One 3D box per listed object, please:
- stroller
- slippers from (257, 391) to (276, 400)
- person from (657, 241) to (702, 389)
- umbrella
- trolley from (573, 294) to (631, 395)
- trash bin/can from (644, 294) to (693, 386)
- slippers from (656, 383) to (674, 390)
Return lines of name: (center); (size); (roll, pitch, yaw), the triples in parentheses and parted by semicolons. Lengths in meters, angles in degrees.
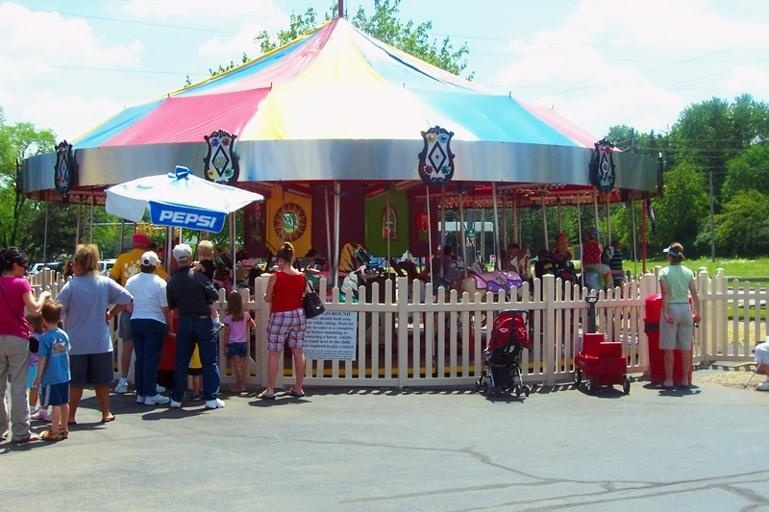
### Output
stroller: (2.018, 1.702, 15.781); (0.725, 1.568, 1.606); (-1, -2, 1)
slippers: (-1.994, 2.312, 15.348); (0.118, 0.138, 0.328); (-4, 7, -44)
person: (5.158, 1.044, 16.179); (0.671, 2.419, 1.146); (5, 10, 26)
umbrella: (-3.463, -0.863, 15.407); (2.312, 1.089, 1.208); (-3, 10, -18)
trolley: (3.755, 1.494, 16.013); (0.653, 1.599, 1.100); (1, 1, -6)
trash bin/can: (5.031, 1.524, 16.364); (0.699, 1.657, 0.705); (-3, -3, -6)
slippers: (4.871, 2.233, 16.002); (0.299, 0.096, 0.260); (3, 11, 14)
